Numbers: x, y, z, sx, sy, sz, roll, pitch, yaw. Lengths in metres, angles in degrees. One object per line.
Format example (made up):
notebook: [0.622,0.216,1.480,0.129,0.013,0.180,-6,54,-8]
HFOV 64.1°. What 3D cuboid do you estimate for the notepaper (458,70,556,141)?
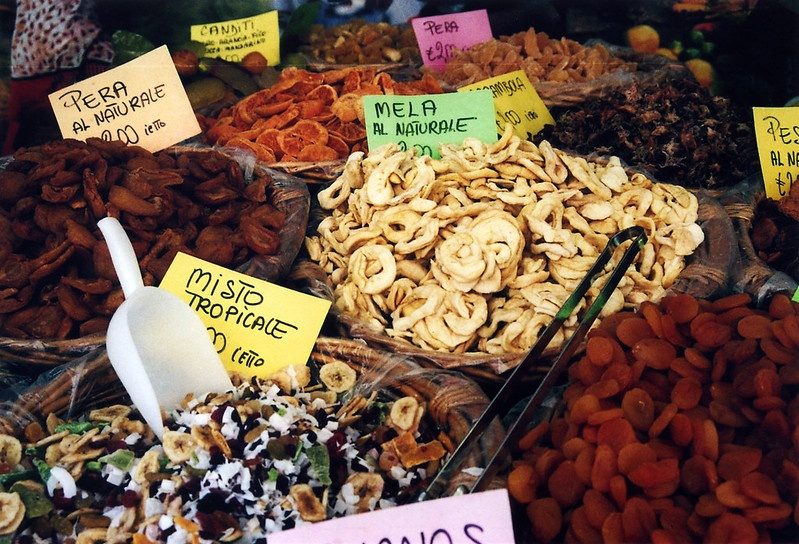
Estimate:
notepaper: [0.428,-0.648,2.638,0.349,0.091,0.331,-22,81,-32]
